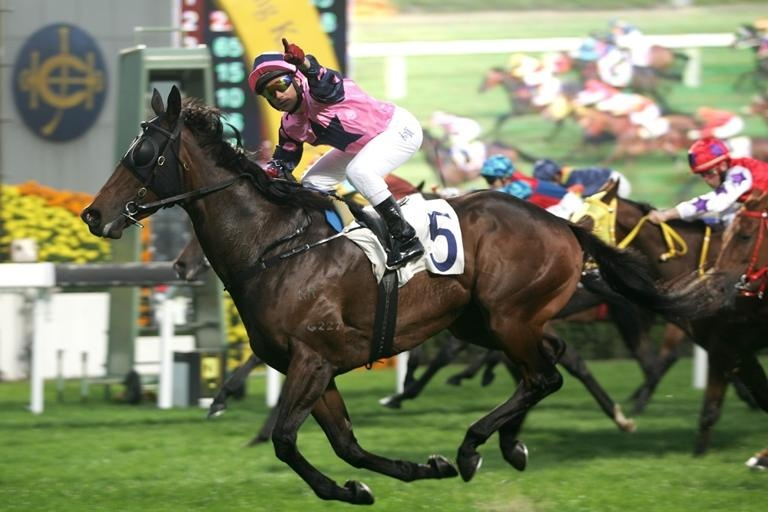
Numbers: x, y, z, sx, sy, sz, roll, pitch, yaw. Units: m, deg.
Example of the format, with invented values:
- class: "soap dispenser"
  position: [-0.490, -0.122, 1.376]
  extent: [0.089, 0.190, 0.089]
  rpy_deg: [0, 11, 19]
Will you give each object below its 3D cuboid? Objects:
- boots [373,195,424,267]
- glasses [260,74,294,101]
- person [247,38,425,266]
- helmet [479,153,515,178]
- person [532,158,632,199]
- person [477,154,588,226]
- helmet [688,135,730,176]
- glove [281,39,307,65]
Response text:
- class: "boots"
  position: [0.112, -0.153, 9.022]
  extent: [0.314, 0.469, 0.102]
  rpy_deg: [-2, 0, -2]
- class: "glasses"
  position: [-0.654, -1.106, 9.103]
  extent: [0.165, 0.099, 0.207]
  rpy_deg: [-31, -5, 32]
- class: "person"
  position: [-0.428, -0.685, 9.087]
  extent: [1.385, 1.229, 1.183]
  rpy_deg: [0, -3, 16]
- class: "helmet"
  position: [0.932, -0.713, 11.015]
  extent: [0.288, 0.160, 0.172]
  rpy_deg: [-6, 15, -7]
- class: "person"
  position: [1.660, -0.625, 11.639]
  extent: [0.929, 0.283, 0.291]
  rpy_deg: [0, 9, -30]
- class: "person"
  position: [1.121, -0.426, 10.878]
  extent: [1.239, 0.476, 0.291]
  rpy_deg: [12, 1, -45]
- class: "helmet"
  position: [2.372, -0.730, 9.984]
  extent: [0.354, 0.204, 0.226]
  rpy_deg: [-11, -6, -8]
- class: "glove"
  position: [-0.587, -1.332, 9.071]
  extent: [0.149, 0.183, 0.238]
  rpy_deg: [-2, 0, -4]
